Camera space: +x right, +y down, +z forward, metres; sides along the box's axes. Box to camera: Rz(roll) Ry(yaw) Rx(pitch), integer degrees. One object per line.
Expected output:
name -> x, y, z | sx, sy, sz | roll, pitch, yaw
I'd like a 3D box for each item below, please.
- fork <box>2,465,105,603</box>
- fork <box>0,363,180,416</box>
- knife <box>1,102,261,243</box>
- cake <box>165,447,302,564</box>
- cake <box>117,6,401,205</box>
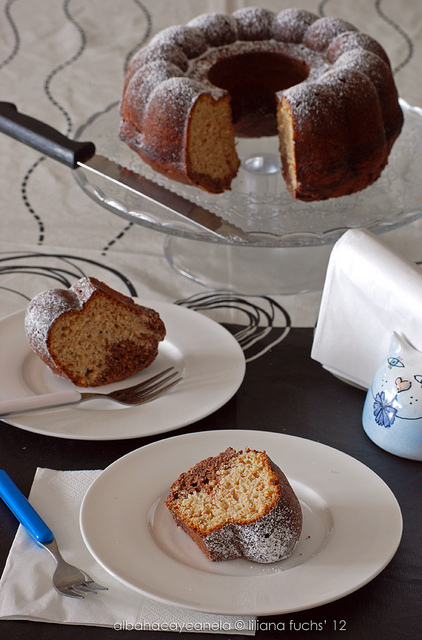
fork -> -0.166, 0.164, 0.600 | 0.037, 0.029, 0.262 | -23, 35, -20
fork -> -0.138, 0.078, 0.696 | 0.158, 0.021, 0.024 | -9, 31, -24
knife -> -0.124, -0.241, 1.055 | 0.722, 0.034, 0.085 | 26, 35, 17
cake -> 0.023, 0.159, 0.551 | 0.109, 0.044, 0.131 | -23, 19, -15
cake -> 0.058, -0.380, 1.068 | 0.422, 0.162, 0.420 | -27, 45, -28
